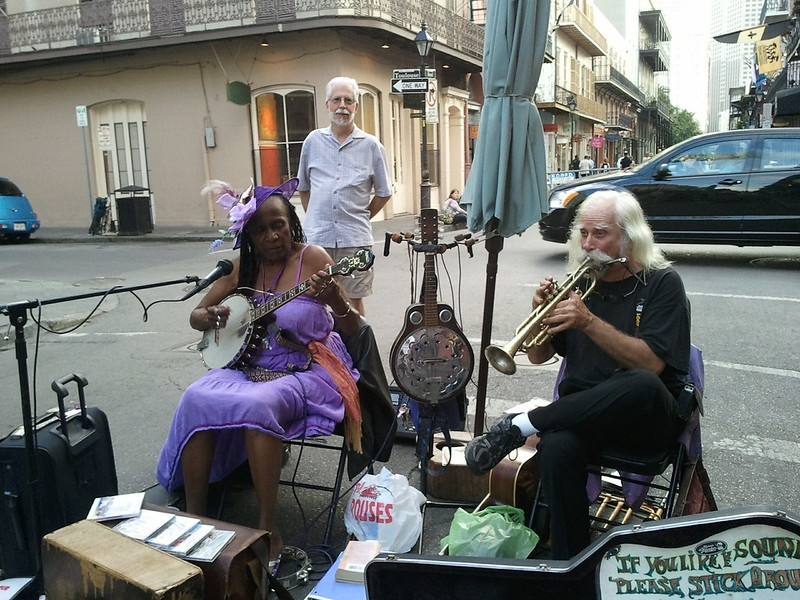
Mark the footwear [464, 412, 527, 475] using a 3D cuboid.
[{"bbox_3d":[0.505,0.799,4.484,0.486,0.180,0.222,-42,-8,-3],"label":"footwear"}]

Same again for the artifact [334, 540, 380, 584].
[{"bbox_3d":[-0.233,1.387,4.257,0.188,0.071,0.290,4,23,11],"label":"artifact"}]

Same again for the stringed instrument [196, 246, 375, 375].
[{"bbox_3d":[-0.672,0.090,5.040,1.214,0.578,0.161,-33,-17,12],"label":"stringed instrument"}]

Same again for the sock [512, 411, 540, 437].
[{"bbox_3d":[0.691,0.701,4.426,0.103,0.099,0.160,22,-32,0],"label":"sock"}]

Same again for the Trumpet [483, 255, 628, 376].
[{"bbox_3d":[1.012,0.132,5.364,1.170,0.498,0.365,-45,36,-15],"label":"Trumpet"}]

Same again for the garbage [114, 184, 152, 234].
[{"bbox_3d":[-6.024,-2.015,18.232,0.766,1.090,1.096,-6,9,-20],"label":"garbage"}]

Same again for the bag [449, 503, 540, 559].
[{"bbox_3d":[0.461,1.249,4.506,0.387,0.199,0.436,13,-17,-21],"label":"bag"}]

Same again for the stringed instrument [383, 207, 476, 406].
[{"bbox_3d":[0.202,0.052,4.961,0.561,1.214,0.361,-3,9,-2],"label":"stringed instrument"}]

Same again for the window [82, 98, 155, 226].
[{"bbox_3d":[-6.995,-3.511,20.982,1.558,3.189,0.248,-6,24,-21],"label":"window"}]

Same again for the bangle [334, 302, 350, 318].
[{"bbox_3d":[-0.349,0.062,4.922,0.088,0.087,0.024,41,20,19],"label":"bangle"}]

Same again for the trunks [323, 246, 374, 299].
[{"bbox_3d":[-0.374,-0.236,6.112,0.343,0.162,0.586,-3,17,31],"label":"trunks"}]

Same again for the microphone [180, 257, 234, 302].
[{"bbox_3d":[-1.126,-0.121,4.819,0.268,0.221,0.604,-5,9,-11],"label":"microphone"}]
